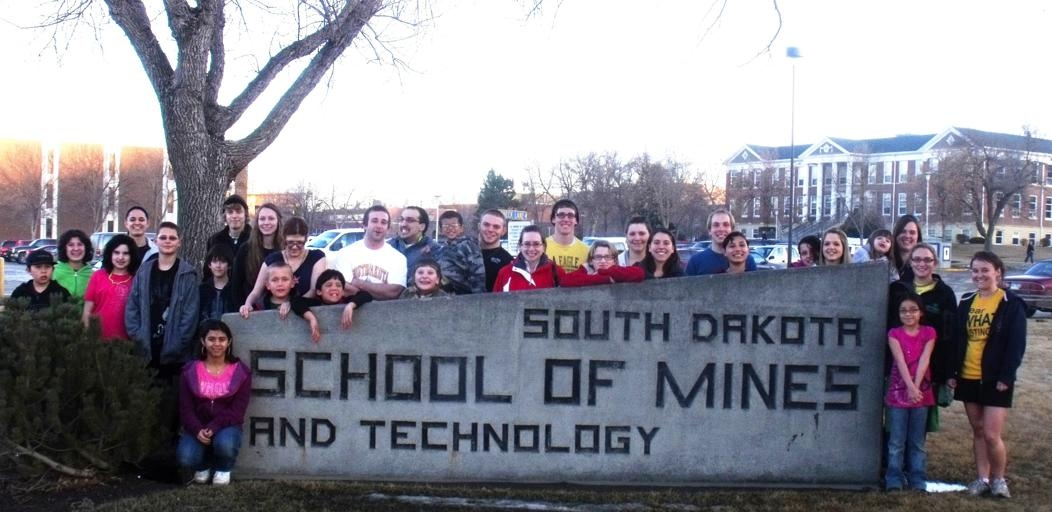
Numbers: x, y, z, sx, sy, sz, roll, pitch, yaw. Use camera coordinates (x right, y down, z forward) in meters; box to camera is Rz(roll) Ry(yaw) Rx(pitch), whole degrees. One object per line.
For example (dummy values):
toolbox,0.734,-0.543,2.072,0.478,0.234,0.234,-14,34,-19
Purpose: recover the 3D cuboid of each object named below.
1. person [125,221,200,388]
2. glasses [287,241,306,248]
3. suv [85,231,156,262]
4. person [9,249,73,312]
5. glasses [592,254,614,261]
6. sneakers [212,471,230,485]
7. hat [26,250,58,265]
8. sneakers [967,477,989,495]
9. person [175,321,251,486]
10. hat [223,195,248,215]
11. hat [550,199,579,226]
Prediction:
person,-6.196,0.754,15.674,1.150,2.675,0.506,-1,2,-20
glasses,-3.974,-0.231,15.849,0.308,0.122,0.213,0,1,-17
suv,-16.512,-0.516,36.764,2.240,0.977,1.365,1,29,14
person,-8.606,0.374,16.312,0.880,0.991,0.572,0,1,-23
glasses,1.412,-0.013,16.239,0.363,0.072,0.063,0,1,3
sneakers,-5.021,3.580,15.162,0.305,0.246,0.170,10,-8,-11
hat,-8.636,-0.005,16.339,0.421,0.270,0.288,0,1,-27
sneakers,7.561,3.747,15.290,0.355,0.259,0.144,0,1,-4
person,-5.154,2.351,15.169,1.122,2.652,0.384,-1,2,-20
hat,-5.289,-0.936,16.744,0.363,0.287,0.402,1,-18,-7
hat,0.723,-0.792,16.826,0.440,0.430,0.544,1,-6,-3
